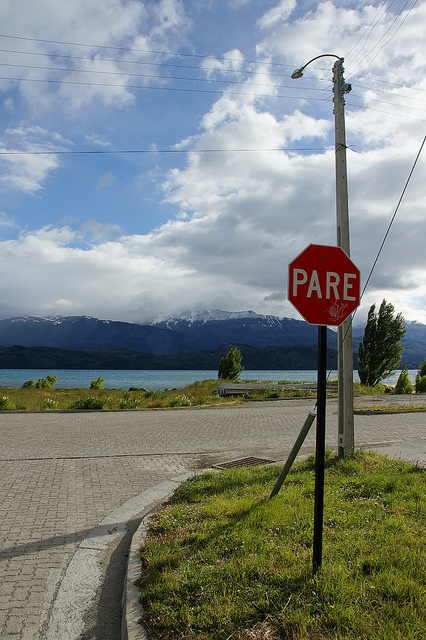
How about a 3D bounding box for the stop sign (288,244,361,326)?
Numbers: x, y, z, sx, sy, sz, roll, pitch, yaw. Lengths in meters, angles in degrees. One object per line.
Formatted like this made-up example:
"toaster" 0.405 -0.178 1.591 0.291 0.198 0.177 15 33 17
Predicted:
"stop sign" 0.865 -0.278 3.867 0.696 0.611 0.173 0 0 -33
